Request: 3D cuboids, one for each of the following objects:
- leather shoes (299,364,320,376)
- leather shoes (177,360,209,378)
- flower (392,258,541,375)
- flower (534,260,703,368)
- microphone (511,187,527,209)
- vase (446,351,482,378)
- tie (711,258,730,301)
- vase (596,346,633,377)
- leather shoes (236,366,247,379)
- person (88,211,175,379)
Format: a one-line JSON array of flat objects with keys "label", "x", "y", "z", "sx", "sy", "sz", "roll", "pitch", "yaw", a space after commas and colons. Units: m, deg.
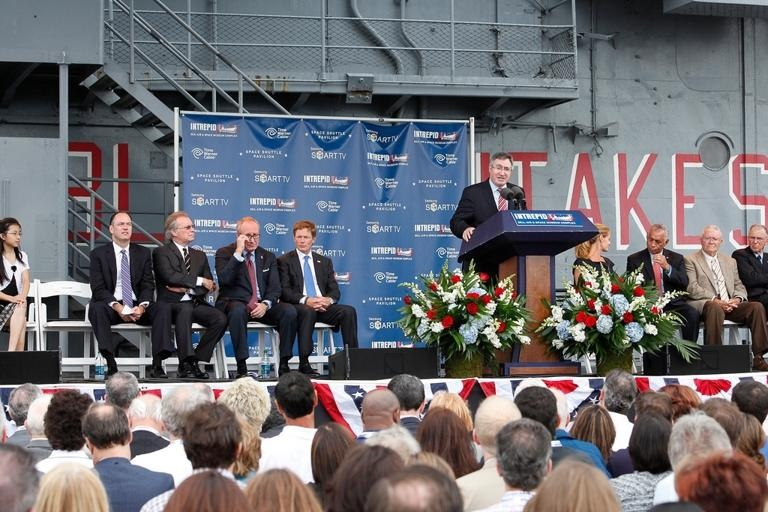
[{"label": "leather shoes", "x": -0.902, "y": 1.380, "z": 16.660, "sx": 0.233, "sy": 0.080, "sz": 0.125, "roll": 4, "pitch": 2, "yaw": 38}, {"label": "leather shoes", "x": -2.263, "y": 1.367, "z": 16.487, "sx": 0.198, "sy": 0.123, "sz": 0.345, "roll": 4, "pitch": -8, "yaw": -30}, {"label": "flower", "x": 0.946, "y": 0.733, "z": 15.871, "sx": 1.427, "sy": 1.300, "sz": 0.533, "roll": -2, "pitch": -8, "yaw": 2}, {"label": "flower", "x": 2.645, "y": 0.685, "z": 16.006, "sx": 1.748, "sy": 1.198, "sz": 0.560, "roll": 1, "pitch": -9, "yaw": -19}, {"label": "microphone", "x": 1.547, "y": -0.663, "z": 15.908, "sx": 0.147, "sy": 0.314, "sz": 0.316, "roll": -2, "pitch": -8, "yaw": 4}, {"label": "vase", "x": 0.923, "y": 1.251, "z": 15.837, "sx": 0.346, "sy": 0.214, "sz": 0.319, "roll": 0, "pitch": 0, "yaw": 9}, {"label": "tie", "x": 4.465, "y": 0.299, "z": 18.486, "sx": 0.146, "sy": 0.628, "sz": 0.116, "roll": -10, "pitch": -25, "yaw": -4}, {"label": "vase", "x": 2.667, "y": 1.216, "z": 16.003, "sx": 0.405, "sy": 0.350, "sz": 0.342, "roll": 0, "pitch": 4, "yaw": -11}, {"label": "leather shoes", "x": -1.707, "y": 1.396, "z": 16.605, "sx": 0.175, "sy": 0.150, "sz": 0.151, "roll": 2, "pitch": 1, "yaw": -6}, {"label": "person", "x": -3.105, "y": 0.468, "z": 16.854, "sx": 0.964, "sy": 2.068, "sz": 0.865, "roll": 0, "pitch": -9, "yaw": -10}]
